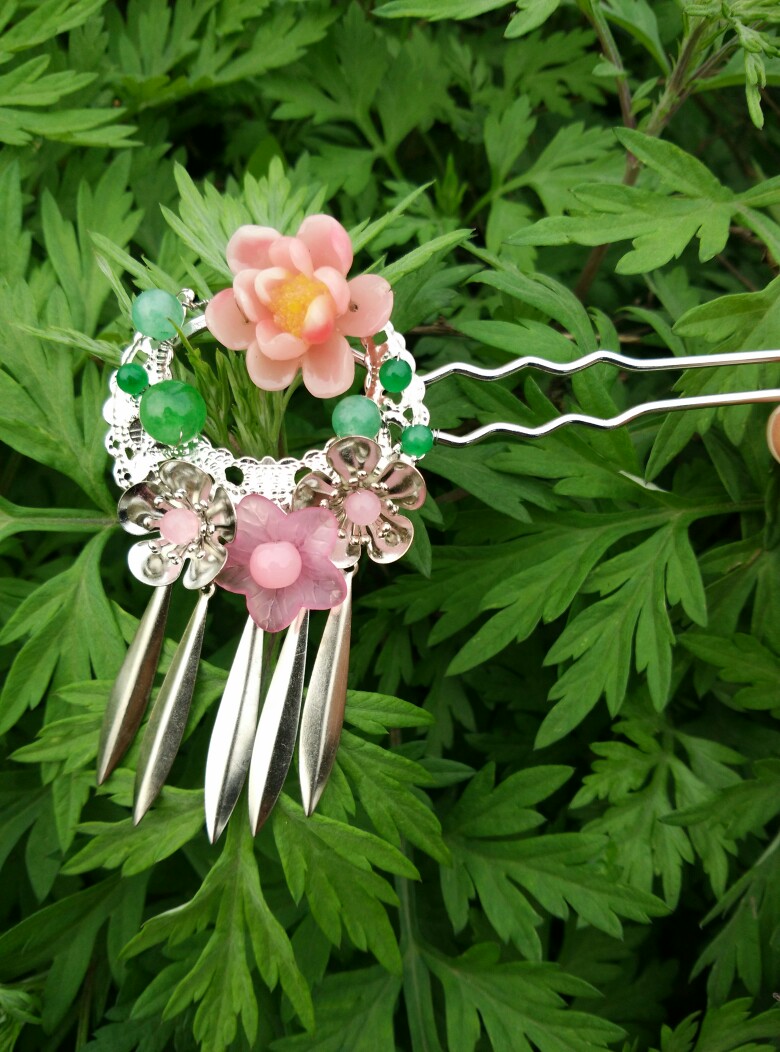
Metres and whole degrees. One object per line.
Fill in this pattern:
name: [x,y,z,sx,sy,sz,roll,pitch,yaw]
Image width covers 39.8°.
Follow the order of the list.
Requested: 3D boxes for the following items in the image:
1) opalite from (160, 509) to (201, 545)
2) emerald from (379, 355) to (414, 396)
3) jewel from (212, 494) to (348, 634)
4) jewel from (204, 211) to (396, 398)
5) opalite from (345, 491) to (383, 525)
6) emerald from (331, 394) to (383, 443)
opalite: [-0.184,0.000,0.952,0.034,0.022,0.031,17,73,5]
emerald: [0.005,-0.141,1.003,0.035,0.019,0.033,-38,105,-5]
jewel: [-0.093,0.035,0.954,0.114,0.051,0.112,15,72,4]
jewel: [-0.077,-0.190,0.983,0.163,0.088,0.168,1,102,19]
opalite: [-0.024,-0.017,0.975,0.031,0.033,0.030,-35,76,-10]
emerald: [-0.032,-0.098,0.972,0.046,0.032,0.038,4,74,1]
